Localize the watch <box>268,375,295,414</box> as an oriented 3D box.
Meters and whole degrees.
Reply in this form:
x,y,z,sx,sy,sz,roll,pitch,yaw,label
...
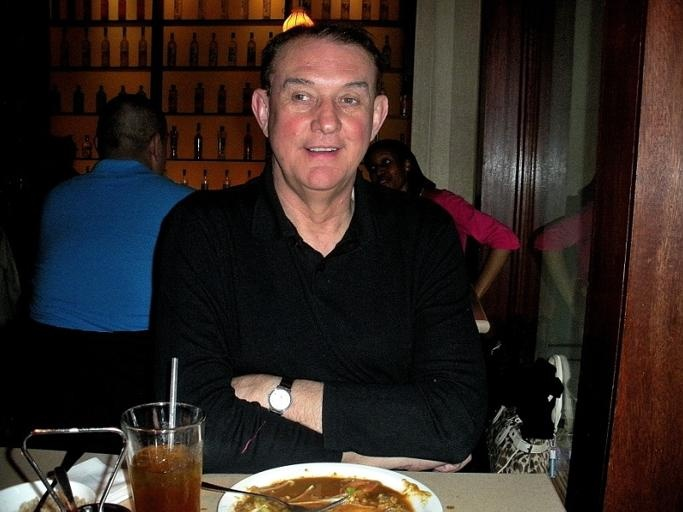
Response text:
x,y,z,sx,sy,sz,roll,pitch,yaw,label
-0.139,0.364,1.648,0.057,0.078,0.073,28,-15,13,watch

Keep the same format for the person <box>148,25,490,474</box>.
x,y,z,sx,sy,sz,roll,pitch,yaw,label
-0.060,-0.021,1.804,0.884,1.180,0.693,0,15,-7,person
